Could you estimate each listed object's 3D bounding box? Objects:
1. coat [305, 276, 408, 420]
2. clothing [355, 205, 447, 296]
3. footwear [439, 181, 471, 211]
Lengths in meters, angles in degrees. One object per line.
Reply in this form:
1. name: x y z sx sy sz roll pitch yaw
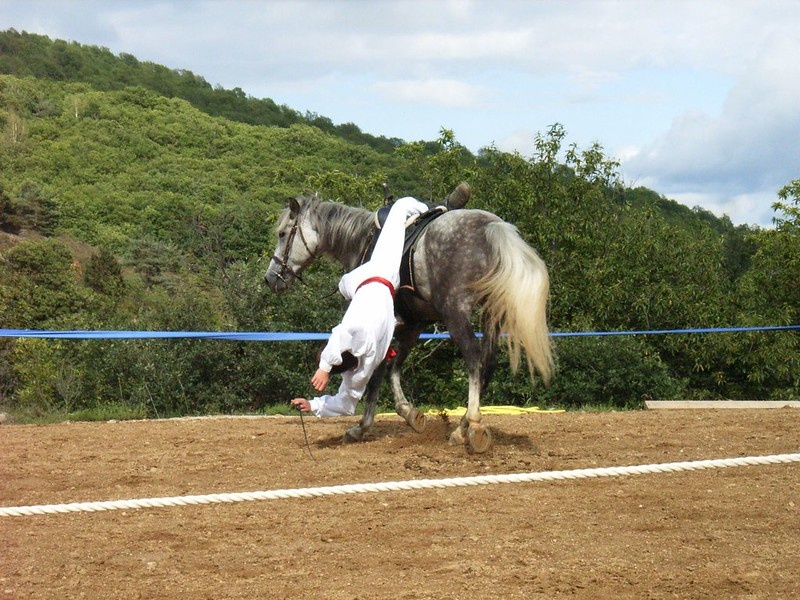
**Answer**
1. coat: -0.902 0.819 18.878 1.194 2.235 0.779 27 -3 -35
2. clothing: 0.057 -1.045 19.696 0.615 1.671 1.126 11 0 -28
3. footwear: 0.984 -1.818 19.892 0.271 0.376 0.836 19 -27 -21
